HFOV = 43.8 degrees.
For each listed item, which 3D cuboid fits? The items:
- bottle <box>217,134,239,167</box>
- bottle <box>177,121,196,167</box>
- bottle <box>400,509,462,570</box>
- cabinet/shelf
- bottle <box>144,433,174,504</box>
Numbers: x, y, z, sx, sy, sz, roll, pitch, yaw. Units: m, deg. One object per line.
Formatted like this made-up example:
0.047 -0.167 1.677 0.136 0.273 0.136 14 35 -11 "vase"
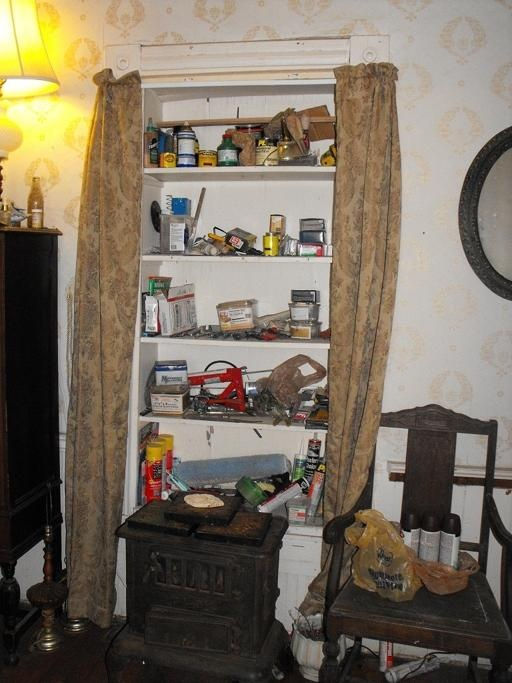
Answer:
-0.110 -0.759 2.511 0.088 0.148 0.137 3 8 3 "bottle"
-0.288 -0.781 2.544 0.070 0.169 0.134 -4 10 -39 "bottle"
0.634 0.729 2.329 0.193 0.182 0.069 -1 -4 7 "bottle"
-0.098 -0.149 2.678 0.798 1.759 0.372 3 8 7 "cabinet/shelf"
-0.421 0.540 2.746 0.122 0.265 0.200 2 8 -6 "bottle"
